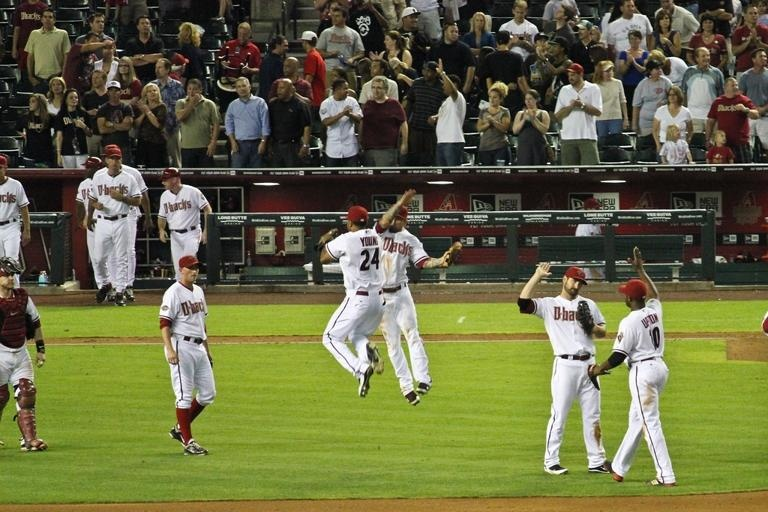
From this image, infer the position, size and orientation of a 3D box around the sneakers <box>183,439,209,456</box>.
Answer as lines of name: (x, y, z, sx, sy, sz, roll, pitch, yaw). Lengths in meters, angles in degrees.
sneakers: (-3.271, 3.318, 29.702, 0.534, 0.211, 0.199, 1, 5, 9)

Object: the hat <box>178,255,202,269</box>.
hat: (-3.468, 0.118, 30.000, 0.310, 0.137, 0.227, -7, -2, 37)

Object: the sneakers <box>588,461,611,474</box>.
sneakers: (3.667, 3.595, 29.067, 0.465, 0.170, 0.158, -1, 11, 2)

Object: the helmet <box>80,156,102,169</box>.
helmet: (-6.420, -2.016, 37.597, 0.436, 0.195, 0.274, 4, 5, 1)

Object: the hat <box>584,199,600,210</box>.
hat: (4.972, -1.223, 40.971, 0.347, 0.166, 0.239, -3, 17, -20)

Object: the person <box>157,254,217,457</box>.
person: (-3.380, 1.749, 29.712, 0.841, 3.390, 0.730, -2, 5, -35)

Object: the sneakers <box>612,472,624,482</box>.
sneakers: (3.910, 3.725, 28.833, 0.107, 0.239, 0.098, -32, -22, -1)

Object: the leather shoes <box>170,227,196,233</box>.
leather shoes: (-4.388, -0.556, 37.572, 0.521, 0.117, 0.147, 0, 4, -7)

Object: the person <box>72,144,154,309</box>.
person: (-5.986, -0.618, 37.702, 1.197, 3.532, 1.226, 0, 4, -12)

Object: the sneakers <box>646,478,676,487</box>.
sneakers: (4.633, 3.801, 28.738, 0.440, 0.164, 0.141, 7, 6, 11)

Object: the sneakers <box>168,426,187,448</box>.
sneakers: (-3.622, 3.139, 29.984, 0.236, 0.448, 0.171, -39, -32, 12)

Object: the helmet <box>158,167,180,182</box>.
helmet: (-4.695, -1.741, 37.195, 0.462, 0.222, 0.310, 4, 30, 11)

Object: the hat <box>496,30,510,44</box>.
hat: (2.756, -5.072, 40.031, 0.270, 0.294, 0.314, 1, -7, 4)

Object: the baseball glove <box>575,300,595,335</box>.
baseball glove: (3.357, 1.025, 28.971, 0.151, 0.464, 0.362, -26, -35, 36)

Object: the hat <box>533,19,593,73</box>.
hat: (4.268, -4.808, 40.648, 1.014, 1.170, 1.296, 3, 4, 31)

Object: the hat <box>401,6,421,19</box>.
hat: (0.589, -5.829, 41.373, 0.373, 0.182, 0.260, 3, 12, 36)

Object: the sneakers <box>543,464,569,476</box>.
sneakers: (2.907, 3.622, 29.078, 0.403, 0.150, 0.161, 0, 8, 12)

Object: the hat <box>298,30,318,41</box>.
hat: (-1.942, -5.213, 41.057, 0.626, 0.283, 0.414, -3, 12, 5)

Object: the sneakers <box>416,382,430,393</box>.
sneakers: (0.715, 2.433, 31.532, 0.234, 0.263, 0.237, 0, 4, 0)

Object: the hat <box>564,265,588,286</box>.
hat: (3.201, 0.334, 29.261, 0.327, 0.224, 0.428, 14, 0, -35)

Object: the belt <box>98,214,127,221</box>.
belt: (-5.928, -0.815, 37.417, 0.610, 0.115, 0.132, 1, 4, 5)

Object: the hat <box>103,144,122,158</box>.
hat: (-5.898, -2.281, 37.365, 0.354, 0.258, 0.534, 1, -1, -17)

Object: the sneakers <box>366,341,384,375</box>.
sneakers: (-0.154, 1.845, 30.816, 0.239, 0.582, 0.284, -12, -9, -32)
